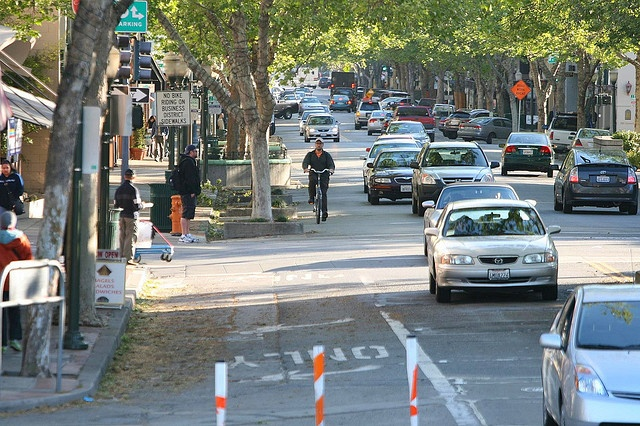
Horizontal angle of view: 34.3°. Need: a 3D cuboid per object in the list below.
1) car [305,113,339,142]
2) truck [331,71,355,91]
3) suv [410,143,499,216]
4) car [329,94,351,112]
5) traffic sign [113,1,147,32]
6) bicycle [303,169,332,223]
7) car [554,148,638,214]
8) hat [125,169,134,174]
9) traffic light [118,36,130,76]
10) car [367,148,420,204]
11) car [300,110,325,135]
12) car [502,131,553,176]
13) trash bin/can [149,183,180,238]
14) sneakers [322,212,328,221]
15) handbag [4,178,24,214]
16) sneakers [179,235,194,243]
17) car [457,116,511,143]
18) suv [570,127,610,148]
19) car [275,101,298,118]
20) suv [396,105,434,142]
[{"bbox_3d":[0.108,-5.238,64.955,1.811,1.837,2.272,-8,4,-34],"label":"car"},{"bbox_3d":[2.634,-14.229,113.569,1.751,1.822,2.917,1,8,3],"label":"truck"},{"bbox_3d":[3.760,-1.256,31.404,1.650,1.323,2.811,-1,-2,0],"label":"suv"},{"bbox_3d":[2.122,-10.905,103.763,2.125,1.731,1.825,-8,5,-38],"label":"car"},{"bbox_3d":[-4.519,-4.684,24.940,0.743,0.532,0.898,-6,4,-11],"label":"traffic sign"},{"bbox_3d":[0.020,-0.505,30.502,0.666,1.614,0.923,-5,3,0],"label":"bicycle"},{"bbox_3d":[8.134,-0.942,31.123,1.421,1.203,2.584,0,9,3],"label":"car"},{"bbox_3d":[-4.217,-0.898,23.103,0.096,0.121,0.117,8,8,33],"label":"hat"},{"bbox_3d":[-4.529,-3.588,24.020,0.342,0.716,1.014,-6,4,-11],"label":"traffic light"},{"bbox_3d":[2.462,-1.176,34.232,1.716,1.467,4.003,0,1,-2],"label":"car"},{"bbox_3d":[-0.812,-6.378,72.466,1.323,1.233,2.790,0,1,-2],"label":"car"},{"bbox_3d":[8.499,-2.274,42.780,2.059,1.927,1.313,-5,4,10],"label":"car"},{"bbox_3d":[-4.363,-0.120,28.488,1.147,1.600,1.179,0,-1,2],"label":"trash bin/can"},{"bbox_3d":[0.137,0.132,30.613,0.176,0.256,0.201,1,-5,-10],"label":"sneakers"},{"bbox_3d":[-7.105,-0.333,24.299,0.482,0.613,0.617,-3,5,-37],"label":"handbag"},{"bbox_3d":[-3.496,0.694,27.091,0.360,0.168,0.162,0,4,45],"label":"sneakers"},{"bbox_3d":[10.426,-5.093,65.278,3.056,1.610,1.184,-6,4,-16],"label":"car"},{"bbox_3d":[12.939,-3.565,49.898,1.642,0.834,2.436,-4,4,13],"label":"suv"},{"bbox_3d":[-3.083,-9.306,95.272,2.098,1.367,3.902,-2,1,0],"label":"car"},{"bbox_3d":[6.262,-5.763,67.180,1.777,1.755,3.763,0,9,-1],"label":"suv"}]
